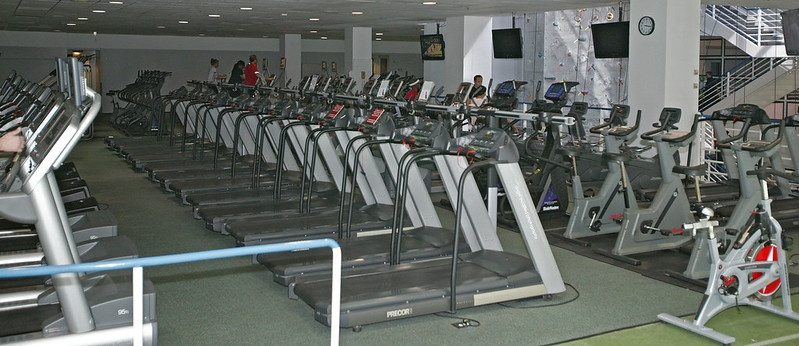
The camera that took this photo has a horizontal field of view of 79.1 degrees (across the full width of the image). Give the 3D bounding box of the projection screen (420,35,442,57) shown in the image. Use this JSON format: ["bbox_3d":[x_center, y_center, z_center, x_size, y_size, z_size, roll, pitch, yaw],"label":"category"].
[{"bbox_3d":[1.116,-4.362,16.560,0.161,0.661,1.086,-20,16,-38],"label":"projection screen"}]

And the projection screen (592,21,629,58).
[{"bbox_3d":[5.738,-3.573,12.969,0.437,0.899,0.976,-17,20,-40],"label":"projection screen"}]

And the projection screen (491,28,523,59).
[{"bbox_3d":[3.396,-4.065,15.249,1.324,0.890,0.312,2,7,35],"label":"projection screen"}]
